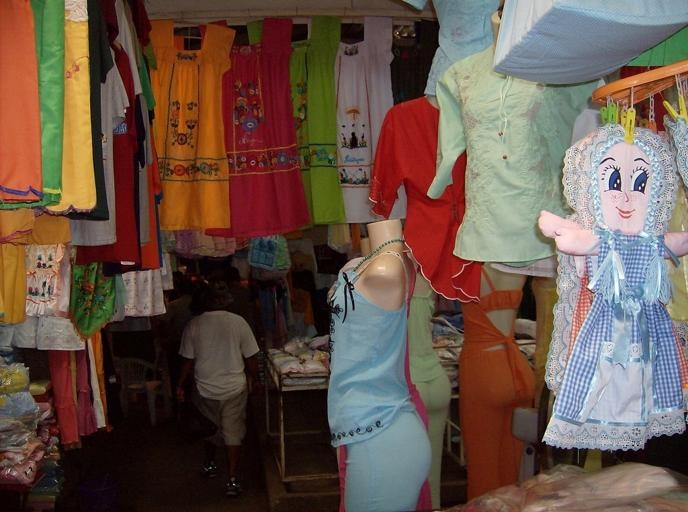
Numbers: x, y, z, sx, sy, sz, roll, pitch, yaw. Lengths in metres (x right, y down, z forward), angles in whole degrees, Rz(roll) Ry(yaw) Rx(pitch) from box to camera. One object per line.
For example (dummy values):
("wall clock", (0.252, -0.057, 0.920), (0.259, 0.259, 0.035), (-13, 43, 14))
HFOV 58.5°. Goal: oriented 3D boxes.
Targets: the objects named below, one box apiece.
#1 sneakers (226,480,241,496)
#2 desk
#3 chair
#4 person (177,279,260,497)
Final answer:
("sneakers", (-0.936, 1.971, 5.211), (0.067, 0.088, 0.190), (2, -34, 1))
("desk", (-0.202, 1.638, 6.188), (1.233, 1.264, 1.872), (-1, -14, -5))
("chair", (-2.403, 1.546, 7.305), (0.501, 0.760, 0.511), (-4, 1, -22))
("person", (-1.137, 1.242, 5.464), (0.599, 1.606, 0.514), (-1, 3, 17))
